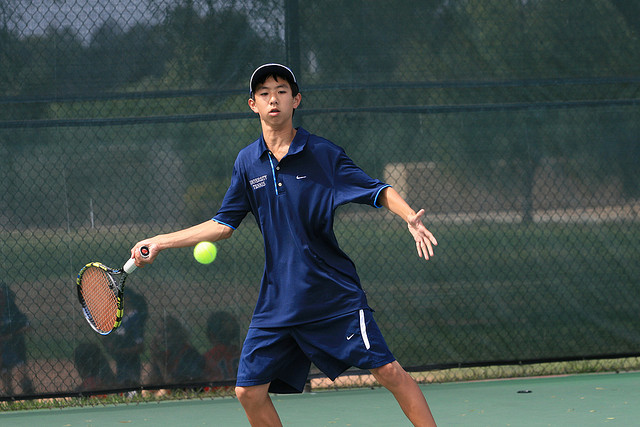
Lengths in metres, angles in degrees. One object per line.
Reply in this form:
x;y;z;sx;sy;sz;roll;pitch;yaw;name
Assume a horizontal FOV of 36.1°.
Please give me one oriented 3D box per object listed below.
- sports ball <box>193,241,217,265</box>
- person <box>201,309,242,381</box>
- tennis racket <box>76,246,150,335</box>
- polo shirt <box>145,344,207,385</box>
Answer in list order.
-0.933;0.306;7.989;0.161;0.181;0.169;6;30;-3;sports ball
-0.920;1.254;9.242;0.450;0.795;0.254;7;-8;-10;person
-1.990;0.759;9.474;0.096;0.531;0.776;-8;-19;-37;tennis racket
-1.281;1.420;9.264;0.441;0.382;0.243;2;1;-7;polo shirt
